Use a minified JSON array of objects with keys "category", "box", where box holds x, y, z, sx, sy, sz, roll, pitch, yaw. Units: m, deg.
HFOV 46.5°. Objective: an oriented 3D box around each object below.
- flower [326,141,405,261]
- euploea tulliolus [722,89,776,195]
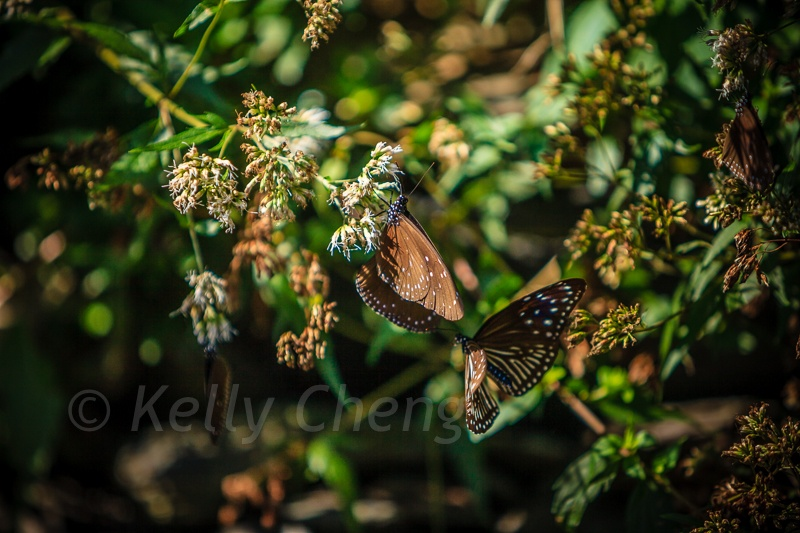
[{"category":"flower","box":[-0.068,-0.159,2.124,0.213,0.247,0.158,-14,17,-29]},{"category":"euploea tulliolus","box":[0.797,-0.278,2.130,0.108,0.216,0.081,1,15,24]}]
